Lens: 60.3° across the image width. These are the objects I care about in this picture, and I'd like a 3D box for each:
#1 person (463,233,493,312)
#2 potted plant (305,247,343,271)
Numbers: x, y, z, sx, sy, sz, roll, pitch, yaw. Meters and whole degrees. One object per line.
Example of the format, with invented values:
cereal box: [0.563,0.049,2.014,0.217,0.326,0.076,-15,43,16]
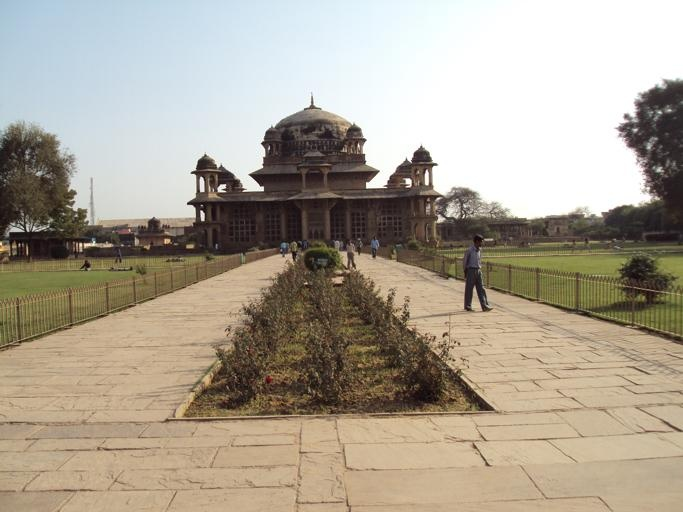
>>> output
person: [2.470,0.270,10.680,0.476,1.379,1.579,0,7,13]
potted plant: [-0.525,0.147,16.970,0.933,0.679,1.377,-3,7,-16]
